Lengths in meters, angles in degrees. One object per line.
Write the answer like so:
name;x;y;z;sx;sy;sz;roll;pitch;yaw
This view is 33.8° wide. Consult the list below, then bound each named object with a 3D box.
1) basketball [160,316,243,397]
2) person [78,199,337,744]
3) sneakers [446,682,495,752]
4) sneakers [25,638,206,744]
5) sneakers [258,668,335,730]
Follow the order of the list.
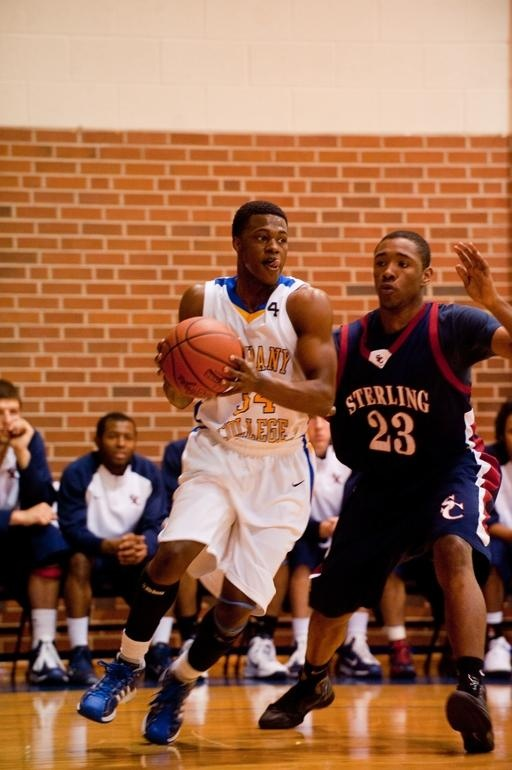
basketball;-0.114;-0.068;2.126;0.204;0.192;0.205;6;-3;21
person;-0.104;0.210;2.183;0.611;1.249;0.418;0;0;4
sneakers;0.509;0.782;2.011;0.086;0.195;0.143;-11;12;24
sneakers;-0.281;0.782;2.168;0.222;0.088;0.276;13;-5;15
sneakers;0.114;0.884;2.416;0.242;0.153;0.088;-9;13;-33
